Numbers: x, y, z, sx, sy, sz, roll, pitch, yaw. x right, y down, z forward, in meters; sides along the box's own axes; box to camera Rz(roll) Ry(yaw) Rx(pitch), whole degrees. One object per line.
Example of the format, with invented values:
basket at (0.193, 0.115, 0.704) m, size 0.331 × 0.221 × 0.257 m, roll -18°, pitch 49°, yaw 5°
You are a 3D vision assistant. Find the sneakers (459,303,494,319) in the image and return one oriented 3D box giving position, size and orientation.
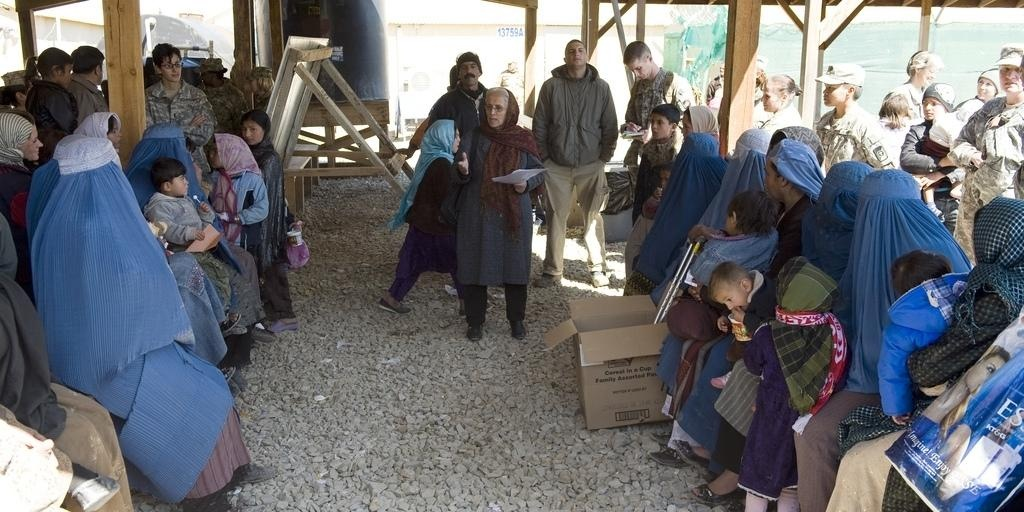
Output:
sneakers at (-0.420, 0.625, 7.794) m, size 0.419 × 0.261 × 0.131 m, roll 0°, pitch 37°, yaw 2°

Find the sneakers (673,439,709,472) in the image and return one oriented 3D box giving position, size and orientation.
sneakers at (1.541, 1.704, 6.051) m, size 0.389 × 0.161 × 0.152 m, roll 32°, pitch 11°, yaw 8°

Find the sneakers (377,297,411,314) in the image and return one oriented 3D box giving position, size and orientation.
sneakers at (-1.351, 0.572, 7.942) m, size 0.402 × 0.167 × 0.143 m, roll 17°, pitch 15°, yaw -16°

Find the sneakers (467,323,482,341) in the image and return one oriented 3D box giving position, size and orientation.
sneakers at (-0.403, 0.816, 7.517) m, size 0.203 × 0.215 × 0.535 m, roll 0°, pitch -1°, yaw -4°

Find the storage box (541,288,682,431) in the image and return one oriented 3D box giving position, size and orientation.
storage box at (0.900, 0.871, 6.646) m, size 1.159 × 0.789 × 1.146 m, roll -5°, pitch 24°, yaw 4°

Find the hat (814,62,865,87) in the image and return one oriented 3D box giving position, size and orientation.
hat at (3.644, -1.996, 7.670) m, size 0.445 × 0.172 × 0.295 m, roll 2°, pitch 14°, yaw 9°

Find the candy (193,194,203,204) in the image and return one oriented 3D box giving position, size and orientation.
candy at (-2.979, -0.542, 6.566) m, size 0.054 × 0.064 × 0.188 m, roll 13°, pitch 9°, yaw -26°

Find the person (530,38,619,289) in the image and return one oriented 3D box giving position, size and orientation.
person at (0.766, -1.143, 8.607) m, size 1.042 × 2.905 × 0.938 m, roll 3°, pitch 20°, yaw 2°

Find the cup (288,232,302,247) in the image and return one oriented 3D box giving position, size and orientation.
cup at (-2.338, -0.181, 7.523) m, size 0.157 × 0.132 × 0.148 m, roll 0°, pitch 5°, yaw 0°

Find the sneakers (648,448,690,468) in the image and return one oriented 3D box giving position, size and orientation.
sneakers at (1.367, 1.748, 6.013) m, size 0.313 × 0.122 × 0.135 m, roll 11°, pitch 15°, yaw 8°

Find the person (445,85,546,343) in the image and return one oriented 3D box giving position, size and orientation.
person at (-0.150, -0.421, 7.389) m, size 0.908 × 2.626 × 0.669 m, roll 0°, pitch 20°, yaw -5°

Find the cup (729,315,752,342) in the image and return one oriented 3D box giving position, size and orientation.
cup at (1.857, 0.594, 5.715) m, size 0.115 × 0.206 × 0.241 m, roll -4°, pitch 20°, yaw -15°

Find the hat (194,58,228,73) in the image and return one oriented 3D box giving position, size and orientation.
hat at (-4.320, -2.743, 9.940) m, size 0.337 × 0.144 × 0.233 m, roll 11°, pitch 24°, yaw 22°

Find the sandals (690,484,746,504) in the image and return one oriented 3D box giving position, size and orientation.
sandals at (1.695, 1.947, 5.720) m, size 0.366 × 0.081 × 0.158 m, roll 0°, pitch 12°, yaw -4°

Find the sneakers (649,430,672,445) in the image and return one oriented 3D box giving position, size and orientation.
sneakers at (1.339, 1.624, 6.245) m, size 0.166 × 0.059 × 0.168 m, roll 5°, pitch 19°, yaw 10°
